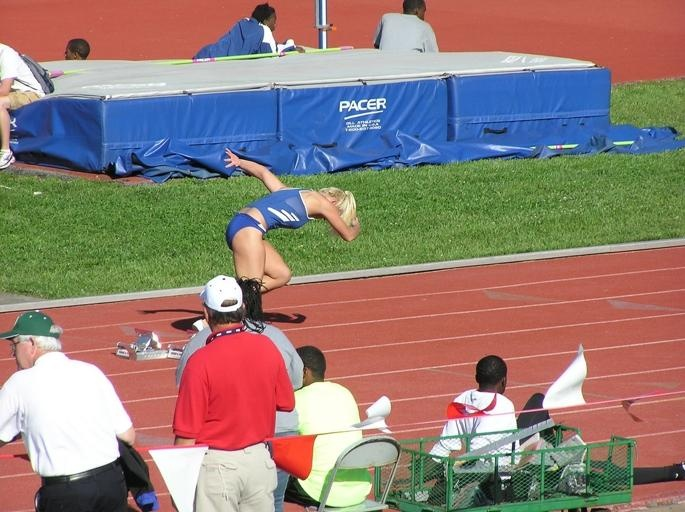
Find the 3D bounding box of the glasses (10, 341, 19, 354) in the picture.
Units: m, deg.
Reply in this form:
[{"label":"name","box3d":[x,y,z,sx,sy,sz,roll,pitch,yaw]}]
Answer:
[{"label":"glasses","box3d":[-3.476,0.995,16.868,0.071,0.216,0.215,1,3,-9]}]

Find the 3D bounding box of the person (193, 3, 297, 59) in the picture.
[{"label":"person","box3d":[-1.948,-4.380,31.544,1.606,0.985,0.624,1,4,23]}]

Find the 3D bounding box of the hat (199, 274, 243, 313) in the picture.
[{"label":"hat","box3d":[-1.295,0.397,16.931,0.426,0.362,0.229,-1,4,-5]}]
